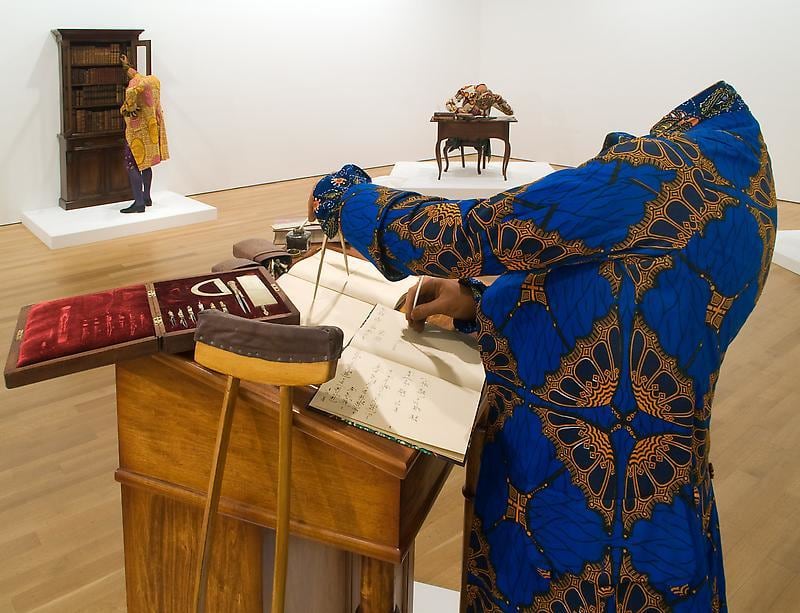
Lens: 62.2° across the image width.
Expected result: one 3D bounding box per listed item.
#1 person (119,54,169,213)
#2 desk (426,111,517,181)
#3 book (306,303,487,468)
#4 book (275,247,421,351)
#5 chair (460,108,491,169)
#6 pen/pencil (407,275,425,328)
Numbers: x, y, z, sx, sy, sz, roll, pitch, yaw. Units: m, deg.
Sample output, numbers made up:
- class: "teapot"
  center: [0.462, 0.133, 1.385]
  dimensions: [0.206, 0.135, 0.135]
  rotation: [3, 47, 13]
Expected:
- class: "person"
  center: [-2.715, -1.837, 6.962]
  dimensions: [0.483, 1.650, 0.667]
  rotation: [-2, 14, -20]
- class: "desk"
  center: [0.931, -2.166, 8.749]
  dimensions: [1.122, 0.841, 1.302]
  rotation: [0, 19, 2]
- class: "book"
  center: [0.023, 0.130, 1.368]
  dimensions: [0.327, 0.052, 0.418]
  rotation: [21, 32, 1]
- class: "book"
  center: [-0.150, -0.044, 1.552]
  dimensions: [0.243, 0.043, 0.262]
  rotation: [28, 30, 18]
- class: "chair"
  center: [0.901, -2.191, 8.580]
  dimensions: [0.505, 0.704, 0.507]
  rotation: [4, 11, 3]
- class: "pen/pencil"
  center: [0.043, -0.022, 1.513]
  dimensions: [0.026, 0.142, 0.025]
  rotation: [14, -26, 2]
